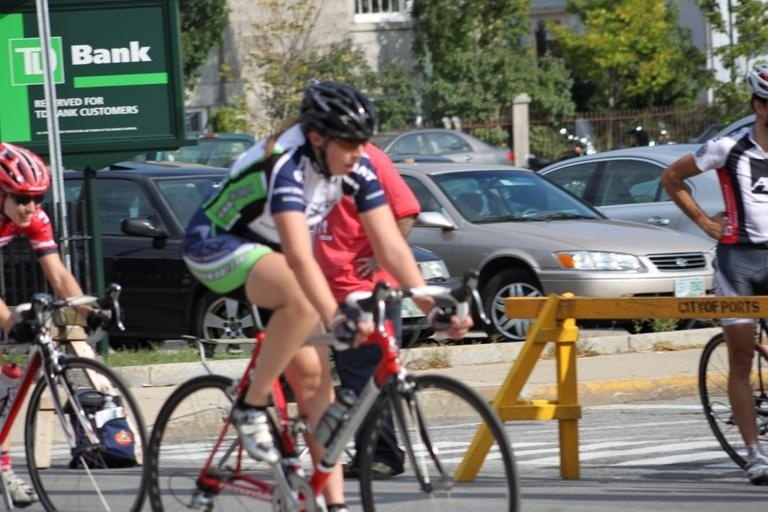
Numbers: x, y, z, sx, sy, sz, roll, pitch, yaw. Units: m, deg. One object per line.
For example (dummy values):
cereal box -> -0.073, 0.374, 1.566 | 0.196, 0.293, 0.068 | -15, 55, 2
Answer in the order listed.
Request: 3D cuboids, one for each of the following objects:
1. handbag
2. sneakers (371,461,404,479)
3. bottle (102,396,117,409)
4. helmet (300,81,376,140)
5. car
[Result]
handbag -> -2.108, 1.310, 10.725 | 0.611, 0.597, 0.261 | -4, -4, -15
sneakers -> 0.026, 1.498, 9.902 | 0.195, 0.051, 0.124 | 0, -2, 24
bottle -> -2.051, 1.105, 10.658 | 0.115, 0.080, 0.101 | 1, -2, -20
helmet -> -0.314, -0.997, 9.811 | 0.408, 0.158, 0.514 | -18, 33, -32
car -> -0.083, -0.135, 15.633 | 7.380, 1.771, 2.634 | -2, 0, 6
